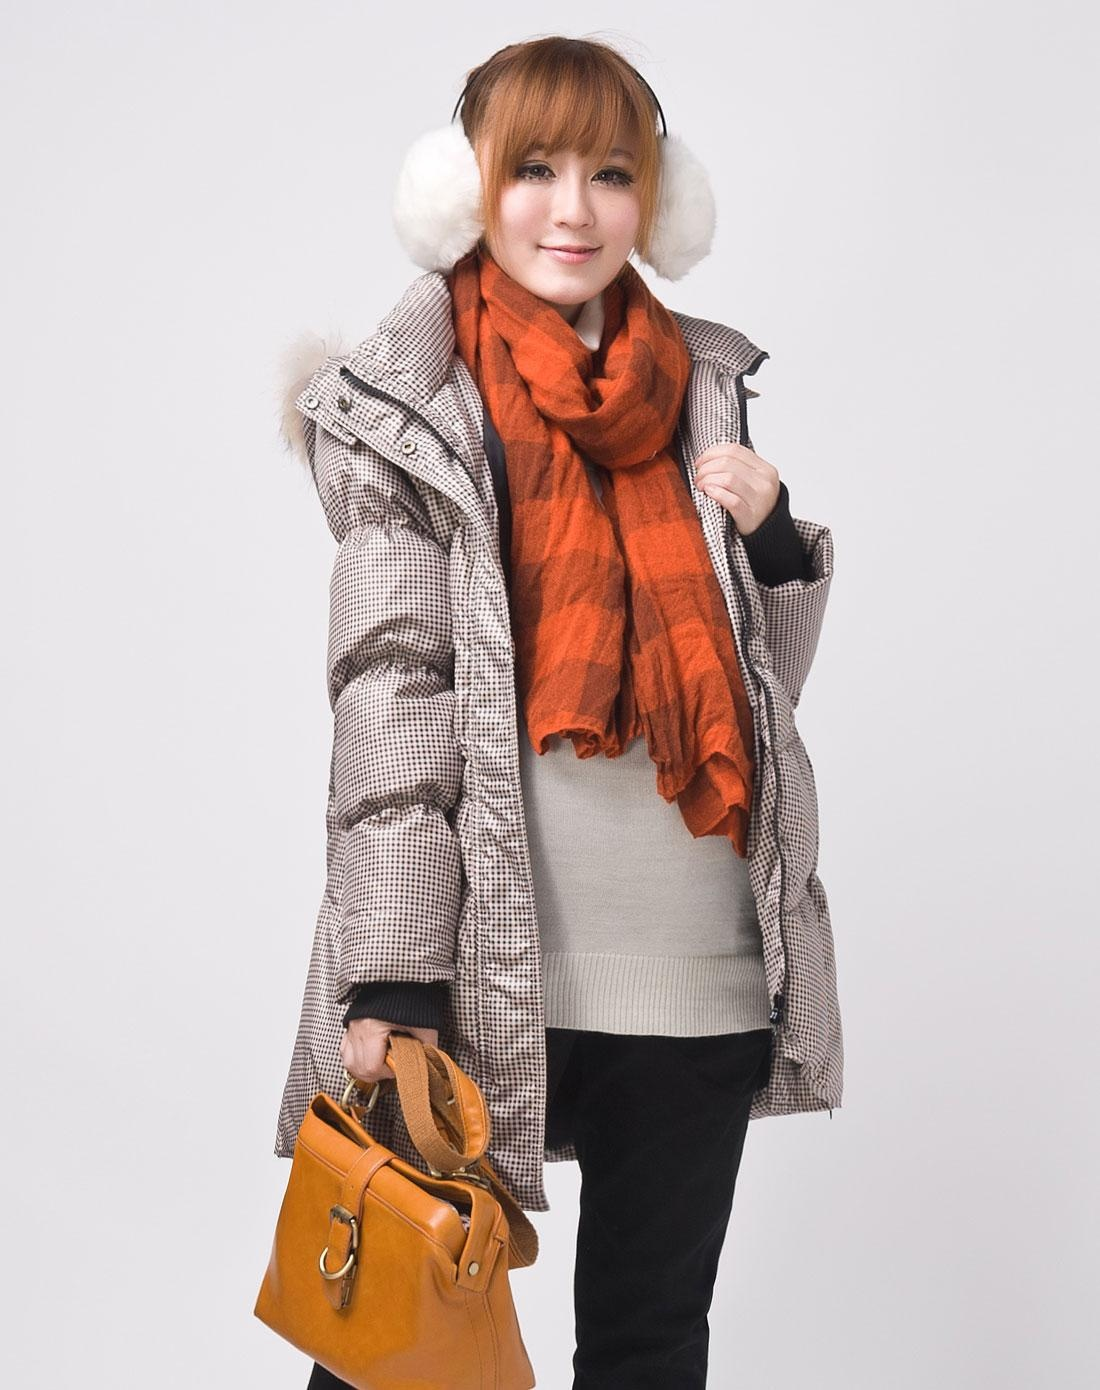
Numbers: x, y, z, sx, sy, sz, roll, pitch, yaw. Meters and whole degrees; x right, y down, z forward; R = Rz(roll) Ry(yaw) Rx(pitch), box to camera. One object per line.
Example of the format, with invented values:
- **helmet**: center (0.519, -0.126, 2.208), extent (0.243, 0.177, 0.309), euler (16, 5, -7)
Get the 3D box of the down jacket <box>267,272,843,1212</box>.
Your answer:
- **down jacket**: center (0.021, 0.004, 2.048), extent (0.683, 1.133, 0.511), euler (4, -34, -6)
